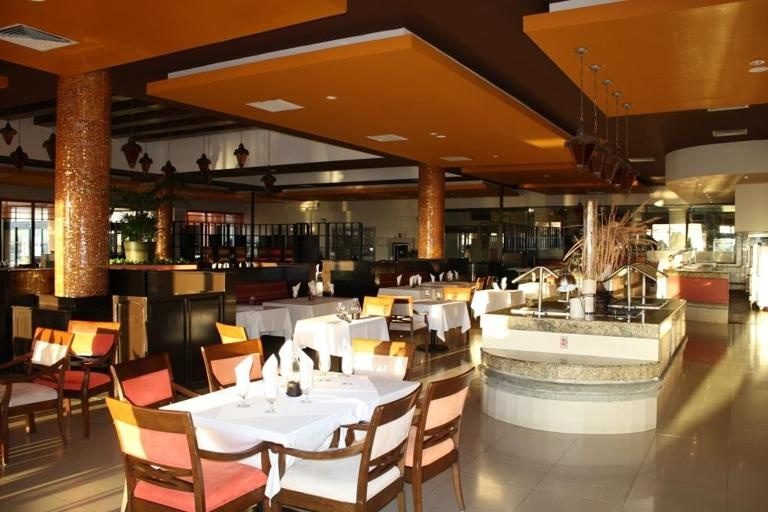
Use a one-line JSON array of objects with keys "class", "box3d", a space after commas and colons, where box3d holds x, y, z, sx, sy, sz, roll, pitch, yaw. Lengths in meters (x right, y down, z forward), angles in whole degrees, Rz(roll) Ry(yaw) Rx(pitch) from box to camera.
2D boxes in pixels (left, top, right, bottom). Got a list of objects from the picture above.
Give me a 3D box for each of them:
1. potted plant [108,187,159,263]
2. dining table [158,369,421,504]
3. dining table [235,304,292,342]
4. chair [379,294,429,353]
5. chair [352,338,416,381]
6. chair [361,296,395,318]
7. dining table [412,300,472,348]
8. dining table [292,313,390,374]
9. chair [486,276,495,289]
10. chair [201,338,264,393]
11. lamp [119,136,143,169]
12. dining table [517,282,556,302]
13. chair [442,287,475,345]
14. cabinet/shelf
[{"class": "potted plant", "box3d": [-4.384, -0.432, 10.077, 0.733, 1.123, 0.674, 4, 6, 11]}, {"class": "dining table", "box3d": [-0.915, 1.669, 4.731, 1.037, 0.302, 1.367, 0, 2, 30]}, {"class": "dining table", "box3d": [-1.986, 1.101, 9.197, 1.027, 0.530, 0.540, -3, 2, -40]}, {"class": "chair", "box3d": [0.336, 1.194, 9.952, 0.924, 0.916, 0.889, 1, -3, -8]}, {"class": "chair", "box3d": [-0.001, 1.035, 6.005, 0.447, 0.662, 0.479, 3, 0, 20]}, {"class": "chair", "box3d": [-0.100, 0.843, 9.277, 0.343, 0.592, 0.444, 0, -3, 16]}, {"class": "dining table", "box3d": [0.834, 1.137, 10.602, 1.208, 0.572, 1.133, 1, -6, 33]}, {"class": "dining table", "box3d": [-0.621, 1.243, 8.330, 1.035, 0.636, 1.302, 3, 3, 24]}, {"class": "chair", "box3d": [2.534, 0.639, 13.584, 0.206, 0.282, 0.690, -1, 2, 10]}, {"class": "chair", "box3d": [-1.618, 1.087, 6.046, 0.586, 0.801, 0.597, -2, -2, -35]}, {"class": "lamp", "box3d": [-4.789, -1.995, 10.629, 0.269, 0.559, 0.903, -3, 2, -23]}, {"class": "dining table", "box3d": [3.710, 0.832, 13.608, 0.948, 0.661, 0.913, -1, -5, 27]}, {"class": "chair", "box3d": [1.464, 0.987, 10.967, 0.556, 0.859, 0.560, 0, -21, -1]}, {"class": "cabinet/shelf", "box3d": [-2.659, 1.095, 6.869, 0.545, 1.259, 1.405, -2, -1, 37]}]
